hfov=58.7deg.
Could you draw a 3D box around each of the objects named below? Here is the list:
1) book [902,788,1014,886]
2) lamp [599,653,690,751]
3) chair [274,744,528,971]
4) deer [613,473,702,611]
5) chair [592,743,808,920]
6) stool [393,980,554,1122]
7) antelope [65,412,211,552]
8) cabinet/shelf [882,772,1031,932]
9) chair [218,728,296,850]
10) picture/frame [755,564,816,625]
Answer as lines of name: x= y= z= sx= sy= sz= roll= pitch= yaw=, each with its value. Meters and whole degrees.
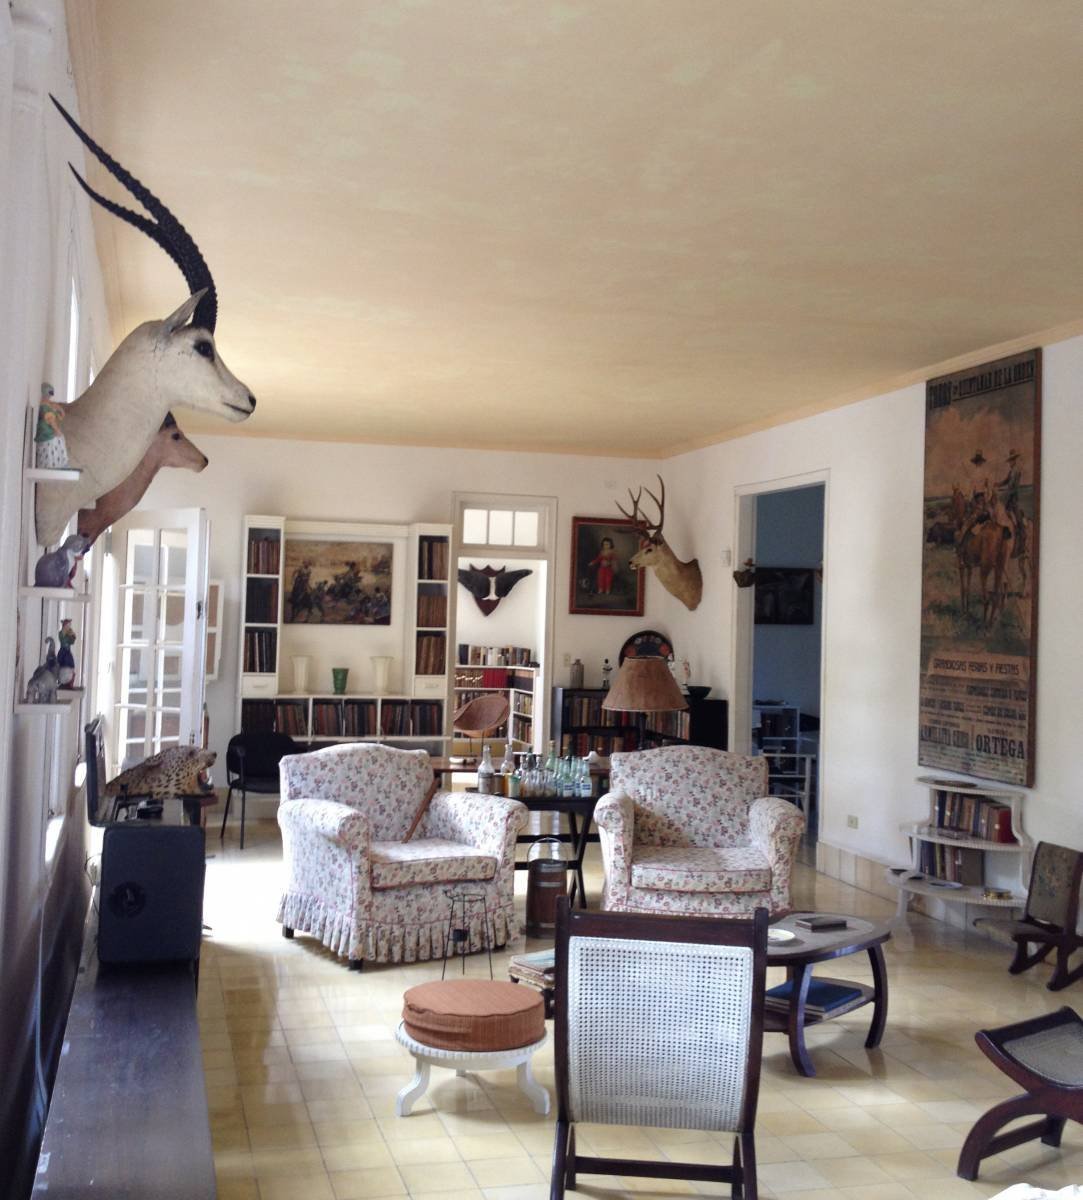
book: x=2.476 y=1.391 z=5.627 sx=0.373 sy=0.531 sz=0.645 roll=2 pitch=0 yaw=-14
lamp: x=0.721 y=0.817 z=6.630 sx=0.537 sy=0.893 sz=0.538 roll=-5 pitch=7 yaw=-30
chair: x=-0.731 y=1.336 z=5.442 sx=1.019 sy=1.156 sz=1.227 roll=3 pitch=-4 yaw=-35
deer: x=1.110 y=-0.521 z=9.365 sx=0.565 sy=1.358 sz=0.739 roll=3 pitch=1 yaw=-26
chair: x=0.886 y=1.374 z=5.659 sx=0.997 sy=1.091 sz=1.147 roll=1 pitch=-3 yaw=-9
stool: x=-0.247 y=1.552 z=3.363 sx=0.528 sy=0.369 sz=0.536 roll=4 pitch=-6 yaw=-20
antelope: x=-1.328 y=-0.370 z=3.162 sx=0.473 sy=0.496 sz=0.356 roll=7 pitch=3 yaw=-30
cabinet/shelf: x=2.512 y=1.525 z=5.649 sx=0.484 sy=0.817 sz=0.974 roll=2 pitch=-1 yaw=-13
chair: x=-2.414 y=1.507 z=8.160 sx=0.671 sy=1.015 sz=0.617 roll=0 pitch=2 yaw=-21
picture/frame: x=2.619 y=-0.050 z=10.392 sx=0.618 sy=0.552 sz=0.066 roll=1 pitch=1 yaw=-4
